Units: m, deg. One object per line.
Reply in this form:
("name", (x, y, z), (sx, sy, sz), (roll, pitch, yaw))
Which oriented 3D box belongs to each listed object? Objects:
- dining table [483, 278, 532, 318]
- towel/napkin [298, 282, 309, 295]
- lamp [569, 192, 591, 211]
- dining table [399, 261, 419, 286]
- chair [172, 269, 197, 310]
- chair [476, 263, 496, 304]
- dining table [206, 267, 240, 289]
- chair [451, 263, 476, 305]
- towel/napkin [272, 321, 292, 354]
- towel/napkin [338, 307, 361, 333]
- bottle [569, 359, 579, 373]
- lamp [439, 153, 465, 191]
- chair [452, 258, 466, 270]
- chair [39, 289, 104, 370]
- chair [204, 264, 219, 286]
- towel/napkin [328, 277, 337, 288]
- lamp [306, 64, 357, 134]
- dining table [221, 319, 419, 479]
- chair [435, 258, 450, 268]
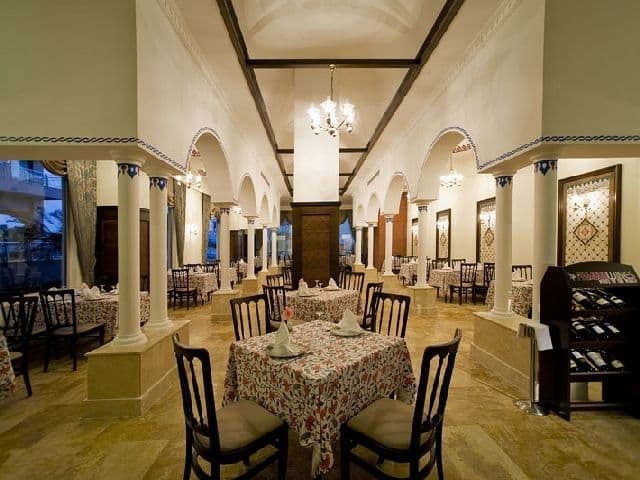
("dining table", (3.811, 1.147, 8.837), (0.819, 0.642, 1.108), (-1, -1, 25))
("towel/napkin", (-0.266, 0.855, 7.641), (0.178, 0.221, 0.183), (-5, 4, -26))
("lamp", (5.326, -0.783, 8.982), (0.226, 0.280, 0.256), (-2, 21, -7))
("dining table", (2.685, 1.085, 13.515), (0.659, 0.602, 0.724), (2, 0, 22))
("chair", (-3.316, 1.153, 10.668), (0.566, 1.060, 0.655), (-5, -6, -9))
("chair", (3.827, 0.993, 10.352), (0.488, 0.939, 0.501), (3, -5, -17))
("dining table", (-2.779, 1.061, 12.674), (0.863, 0.802, 0.950), (0, 2, -8))
("chair", (3.683, 1.096, 11.377), (0.605, 0.882, 1.878), (-1, -1, 16))
("towel/napkin", (-0.428, 1.111, 5.041), (0.268, 0.464, 0.214), (-2, 4, -18))
("towel/napkin", (0.372, 1.052, 5.534), (0.281, 0.336, 0.244), (-3, -21, 8))
("bottle", (3.323, 1.660, 5.734), (0.107, 0.176, 0.040), (-22, -13, 22))
("lamp", (3.785, -2.084, 12.685), (0.367, 0.903, 0.350), (-4, 9, -10))
("chair", (3.946, 0.689, 12.461), (0.193, 0.397, 0.235), (1, 4, 8))
("chair", (-4.059, 1.392, 7.122), (0.620, 1.353, 0.742), (0, 4, -8))
("chair", (-2.947, 0.965, 11.903), (0.446, 0.709, 0.407), (0, -5, 4))
("towel/napkin", (0.237, 0.822, 8.347), (0.147, 0.185, 0.150), (-12, 11, -28))
("lamp", (0.208, -2.821, 8.746), (0.759, 1.560, 0.994), (-2, -5, 5))
("dining table", (0.169, 1.365, 5.048), (1.537, 0.897, 1.597), (1, 0, 40))
("chair", (3.903, 0.727, 13.905), (0.358, 0.500, 0.356), (5, 7, 33))
